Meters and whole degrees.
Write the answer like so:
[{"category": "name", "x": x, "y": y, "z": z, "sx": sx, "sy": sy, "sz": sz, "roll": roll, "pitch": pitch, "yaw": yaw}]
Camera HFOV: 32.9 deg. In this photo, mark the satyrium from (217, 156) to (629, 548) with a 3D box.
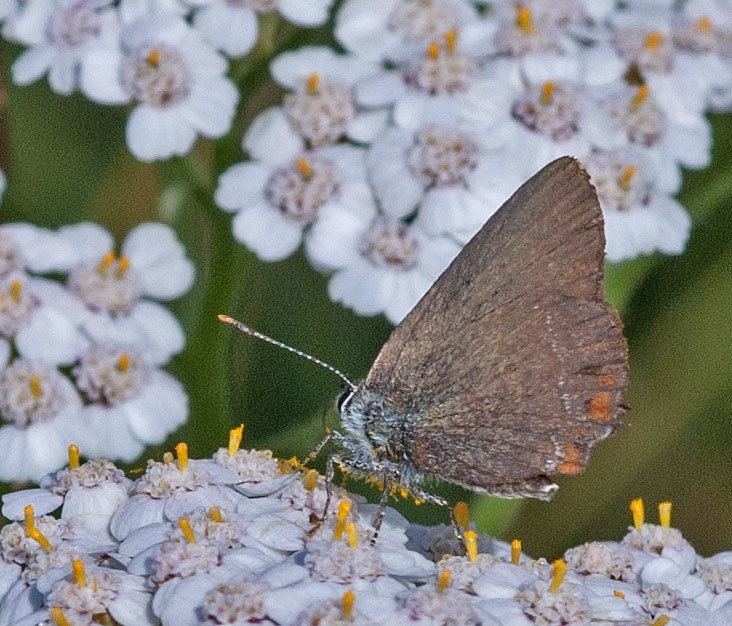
[{"category": "satyrium", "x": 0.206, "y": 0.083, "z": 1.772, "sx": 0.522, "sy": 0.298, "sz": 0.323, "roll": -42, "pitch": 74, "yaw": -12}]
